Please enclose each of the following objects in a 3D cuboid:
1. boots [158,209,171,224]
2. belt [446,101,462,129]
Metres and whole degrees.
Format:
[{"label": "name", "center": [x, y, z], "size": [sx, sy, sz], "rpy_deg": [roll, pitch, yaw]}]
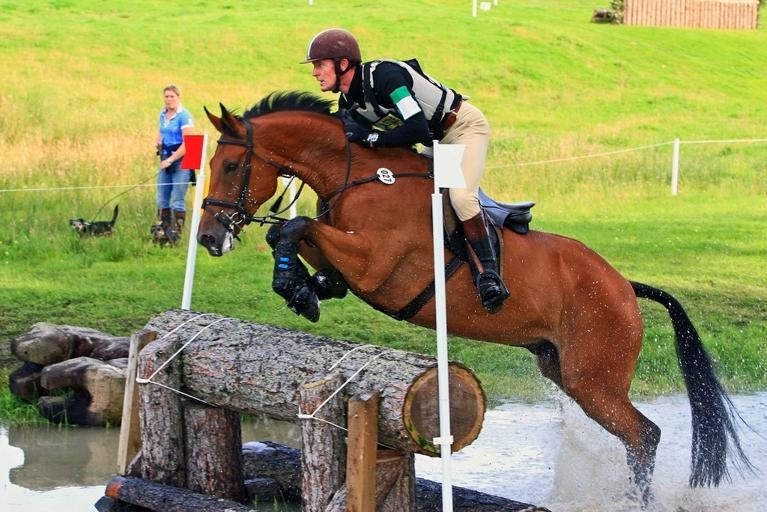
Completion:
[{"label": "boots", "center": [-3.329, -0.582, 19.970], "size": [0.218, 0.212, 0.203], "rpy_deg": [-1, 4, -5]}, {"label": "belt", "center": [0.827, -1.609, 15.095], "size": [0.111, 0.279, 0.224], "rpy_deg": [25, 17, 32]}]
